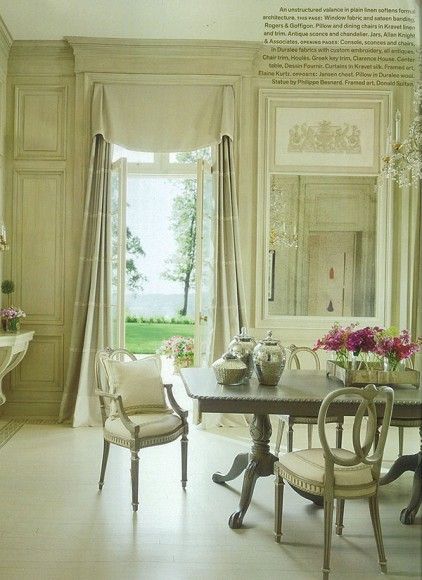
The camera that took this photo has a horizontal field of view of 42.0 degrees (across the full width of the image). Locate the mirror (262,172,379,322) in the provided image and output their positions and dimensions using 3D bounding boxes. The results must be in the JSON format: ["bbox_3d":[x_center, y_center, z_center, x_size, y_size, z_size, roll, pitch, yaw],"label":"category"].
[{"bbox_3d":[1.003,-0.447,5.148,1.527,1.818,0.085,0,5,2],"label":"mirror"}]

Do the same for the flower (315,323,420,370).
[{"bbox_3d":[0.894,0.298,3.133,0.436,0.196,0.358,1,-1,24],"label":"flower"}]

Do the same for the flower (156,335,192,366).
[{"bbox_3d":[-0.408,0.826,7.585,0.417,0.427,0.477,1,-2,25],"label":"flower"}]
